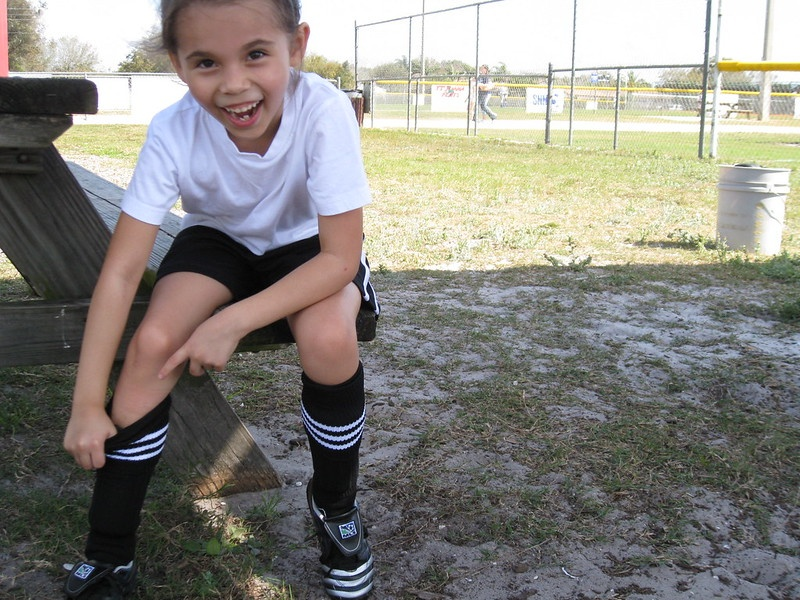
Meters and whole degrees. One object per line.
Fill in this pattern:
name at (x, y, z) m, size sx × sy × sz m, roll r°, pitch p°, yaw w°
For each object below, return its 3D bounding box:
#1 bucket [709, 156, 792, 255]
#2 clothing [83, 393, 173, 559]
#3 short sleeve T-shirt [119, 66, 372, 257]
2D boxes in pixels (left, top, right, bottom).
bucket at (2.648, -0.732, 4.577) m, size 0.464 × 0.686 × 0.468 m, roll -7°, pitch 24°, yaw 3°
clothing at (-0.611, 0.429, 1.360) m, size 0.128 × 0.410 × 0.196 m, roll 4°, pitch 17°, yaw 14°
short sleeve T-shirt at (-0.305, -0.297, 1.617) m, size 0.699 × 0.583 × 0.440 m, roll 2°, pitch 18°, yaw 3°
